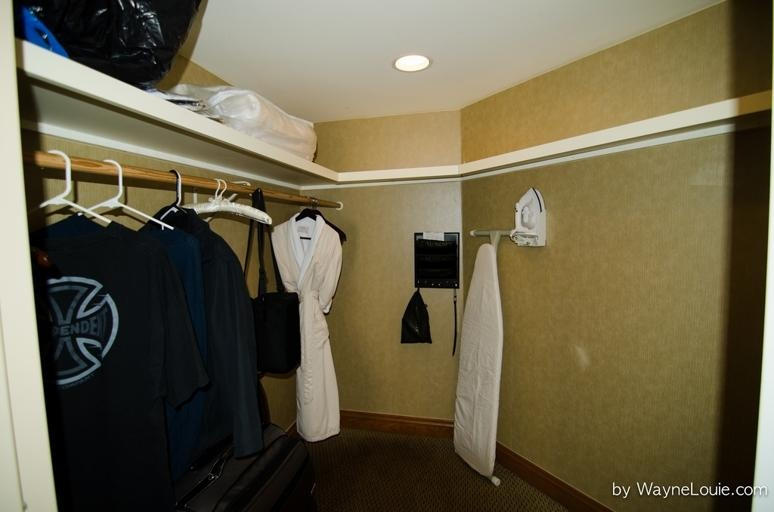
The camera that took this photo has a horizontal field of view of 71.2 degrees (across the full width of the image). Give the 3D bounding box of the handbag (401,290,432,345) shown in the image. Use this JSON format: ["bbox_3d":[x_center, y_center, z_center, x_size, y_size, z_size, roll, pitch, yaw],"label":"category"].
[{"bbox_3d":[0.205,0.419,3.743,0.213,0.365,0.062,2,2,3],"label":"handbag"}]

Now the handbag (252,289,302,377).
[{"bbox_3d":[-0.644,0.444,3.122,0.279,0.466,0.210,1,2,-16],"label":"handbag"}]
